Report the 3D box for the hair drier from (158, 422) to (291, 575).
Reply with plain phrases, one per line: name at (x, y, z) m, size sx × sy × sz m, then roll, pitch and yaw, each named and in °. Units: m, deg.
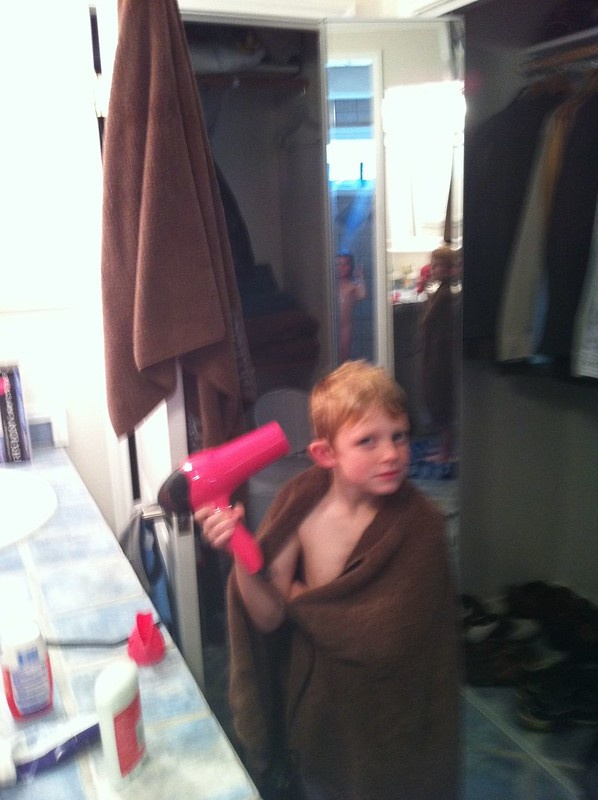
hair drier at (-0.167, 0.171, 1.236) m, size 0.259 × 0.256 × 0.079 m, roll -32°, pitch 5°, yaw 25°
